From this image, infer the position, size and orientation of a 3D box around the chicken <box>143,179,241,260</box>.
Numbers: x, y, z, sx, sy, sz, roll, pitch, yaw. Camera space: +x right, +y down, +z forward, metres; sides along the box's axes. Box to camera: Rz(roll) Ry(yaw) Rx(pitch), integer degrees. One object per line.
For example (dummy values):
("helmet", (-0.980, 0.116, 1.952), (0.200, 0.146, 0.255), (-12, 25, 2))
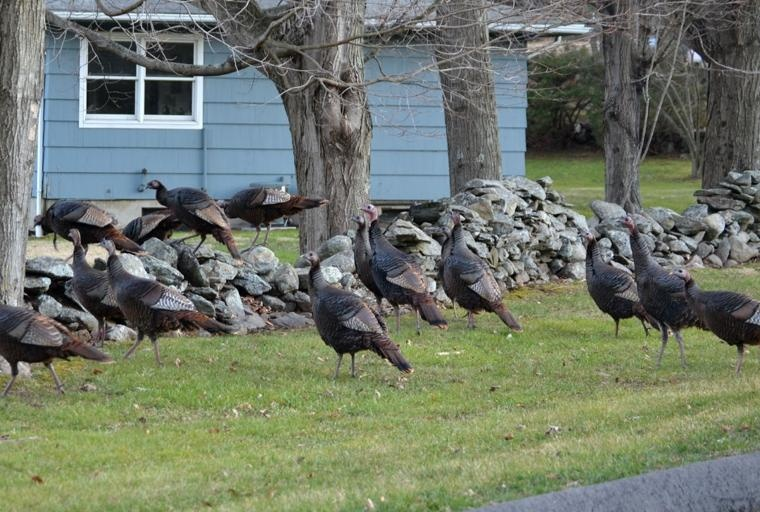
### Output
("chicken", (-3.847, -0.727, 26.360), (2.302, 1.518, 1.061), (12, 8, 18))

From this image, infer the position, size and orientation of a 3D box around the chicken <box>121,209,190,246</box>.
("chicken", (-4.515, -0.567, 27.040), (1.388, 0.607, 0.561), (1, 10, 12))

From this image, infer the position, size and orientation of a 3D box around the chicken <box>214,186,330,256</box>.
("chicken", (-2.364, -0.745, 29.006), (1.600, 0.448, 0.847), (-18, -6, 1))
